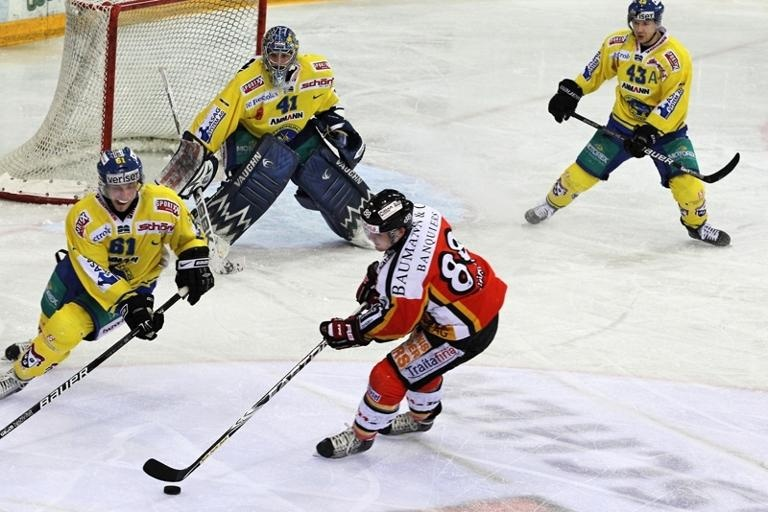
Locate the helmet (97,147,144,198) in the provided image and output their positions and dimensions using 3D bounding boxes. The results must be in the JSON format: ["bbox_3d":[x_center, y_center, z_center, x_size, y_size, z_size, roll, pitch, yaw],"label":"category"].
[{"bbox_3d":[-1.320,-0.435,4.208,0.249,0.238,0.249,-5,38,-9],"label":"helmet"}]

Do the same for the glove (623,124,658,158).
[{"bbox_3d":[1.818,-0.818,5.932,0.263,0.122,0.192,-42,41,9],"label":"glove"}]

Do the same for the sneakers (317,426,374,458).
[{"bbox_3d":[-0.193,0.929,4.194,0.372,0.102,0.126,-12,-7,-19],"label":"sneakers"}]

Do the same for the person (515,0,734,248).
[{"bbox_3d":[1.874,-0.986,6.128,1.385,1.692,0.668,9,26,10],"label":"person"}]

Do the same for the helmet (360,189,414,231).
[{"bbox_3d":[-0.020,-0.199,3.995,0.272,0.207,0.167,-3,59,-17],"label":"helmet"}]

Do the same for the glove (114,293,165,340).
[{"bbox_3d":[-1.209,0.294,4.231,0.275,0.107,0.230,36,-23,-14],"label":"glove"}]

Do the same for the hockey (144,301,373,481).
[{"bbox_3d":[-0.671,0.747,4.441,1.785,0.206,0.152,-26,8,-18],"label":"hockey"}]

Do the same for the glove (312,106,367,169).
[{"bbox_3d":[-0.296,-0.824,5.997,0.592,0.195,0.238,33,-1,-29],"label":"glove"}]

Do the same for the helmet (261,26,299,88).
[{"bbox_3d":[-0.685,-1.302,5.521,0.234,0.397,0.209,1,25,-8],"label":"helmet"}]

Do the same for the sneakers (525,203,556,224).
[{"bbox_3d":[1.184,-0.318,6.433,0.241,0.128,0.087,-29,-7,6],"label":"sneakers"}]

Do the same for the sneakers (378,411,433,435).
[{"bbox_3d":[0.122,0.869,4.374,0.336,0.103,0.104,1,10,-13],"label":"sneakers"}]
